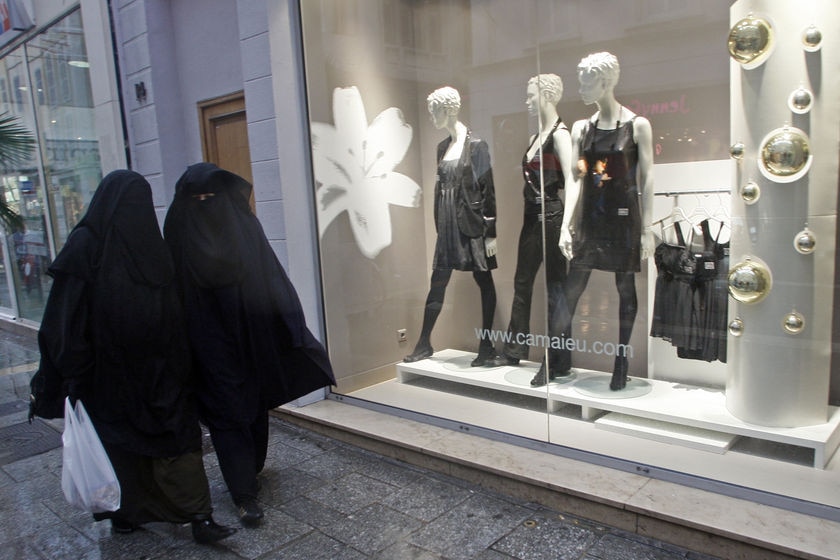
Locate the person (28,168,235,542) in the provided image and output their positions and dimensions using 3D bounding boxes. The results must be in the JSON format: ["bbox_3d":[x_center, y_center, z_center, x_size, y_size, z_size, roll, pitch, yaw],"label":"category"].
[{"bbox_3d":[-1.647,0.457,3.520,0.959,2.103,0.449,-3,8,-11],"label":"person"}]

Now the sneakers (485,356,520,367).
[{"bbox_3d":[0.585,0.573,4.341,0.193,0.060,0.075,4,3,30],"label":"sneakers"}]

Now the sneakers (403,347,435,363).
[{"bbox_3d":[-0.004,0.562,4.703,0.229,0.159,0.088,1,3,19],"label":"sneakers"}]

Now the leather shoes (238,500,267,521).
[{"bbox_3d":[-0.997,1.378,3.697,0.094,0.074,0.171,0,-3,-39],"label":"leather shoes"}]

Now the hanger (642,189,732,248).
[{"bbox_3d":[1.580,-0.354,3.636,0.404,0.317,0.060,4,10,36],"label":"hanger"}]
